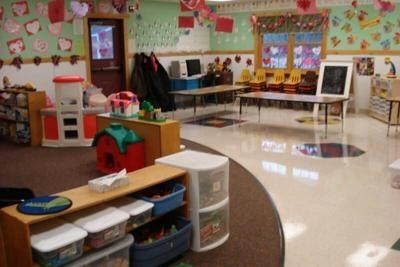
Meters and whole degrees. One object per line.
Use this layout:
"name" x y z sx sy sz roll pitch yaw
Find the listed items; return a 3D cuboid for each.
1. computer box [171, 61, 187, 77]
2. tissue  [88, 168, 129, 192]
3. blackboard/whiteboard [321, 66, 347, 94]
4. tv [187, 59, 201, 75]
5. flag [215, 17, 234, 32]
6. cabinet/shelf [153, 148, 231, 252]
"computer box" -0.807 -2.459 11.108 0.593 0.669 0.660 9 13 37
"tissue " -0.883 0.442 2.894 0.205 0.116 0.341 6 10 37
"blackboard/whiteboard" 4.420 -1.734 9.465 0.814 1.059 0.069 10 -1 26
"tv" -0.241 -2.589 11.327 0.155 0.602 0.653 4 9 43
"flag" 0.684 -3.028 8.069 0.459 0.391 0.370 1 15 10
"cabinet/shelf" 0.067 0.745 4.039 1.046 1.417 0.946 3 8 35
